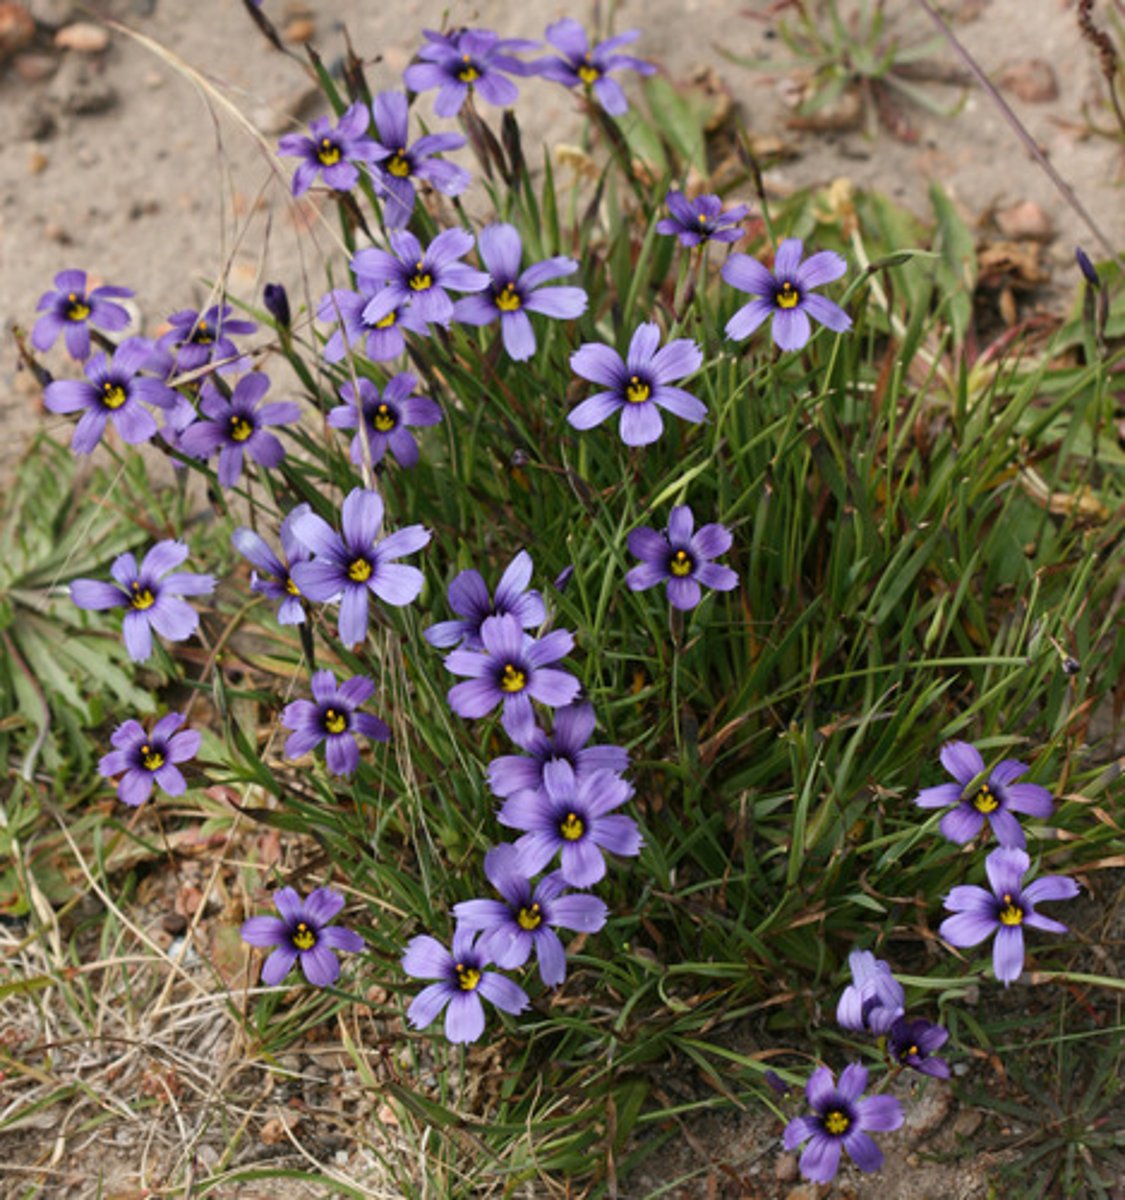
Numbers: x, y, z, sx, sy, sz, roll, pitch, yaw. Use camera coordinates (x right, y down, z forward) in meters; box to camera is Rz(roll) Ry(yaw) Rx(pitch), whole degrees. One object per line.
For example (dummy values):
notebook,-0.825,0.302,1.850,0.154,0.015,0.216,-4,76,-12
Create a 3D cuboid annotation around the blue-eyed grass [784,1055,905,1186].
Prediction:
blue-eyed grass,0.522,0.981,2.449,0.216,0.094,0.259,-33,20,5
